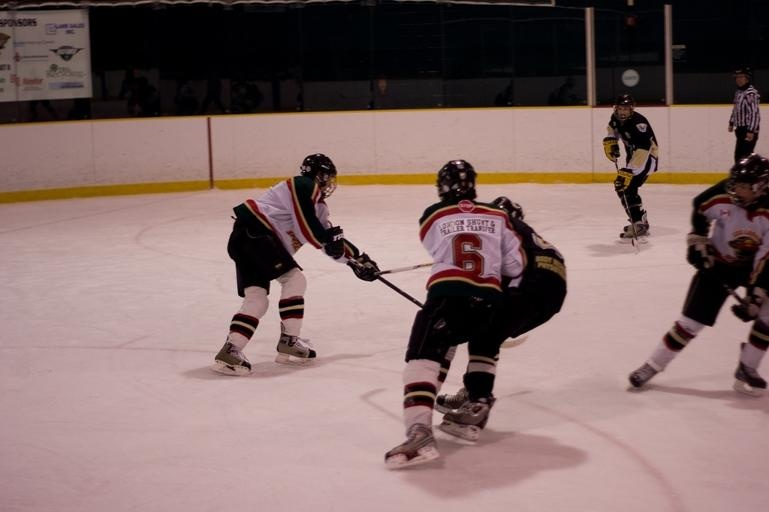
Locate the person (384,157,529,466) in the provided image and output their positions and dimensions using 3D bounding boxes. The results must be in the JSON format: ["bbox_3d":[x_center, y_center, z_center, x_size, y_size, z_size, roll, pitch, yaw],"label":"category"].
[{"bbox_3d":[0.350,0.392,4.011,0.526,1.353,0.881,8,13,29],"label":"person"}]

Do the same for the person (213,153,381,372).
[{"bbox_3d":[-0.672,0.039,5.229,1.067,1.501,0.550,-1,12,-12],"label":"person"}]

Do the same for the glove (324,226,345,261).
[{"bbox_3d":[-0.355,-0.090,5.246,0.145,0.251,0.118,1,11,-4],"label":"glove"}]

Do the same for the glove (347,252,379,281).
[{"bbox_3d":[-0.159,0.089,5.323,0.213,0.255,0.344,1,10,-4],"label":"glove"}]

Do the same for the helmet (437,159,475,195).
[{"bbox_3d":[0.440,-0.465,4.297,0.196,0.202,0.225,-2,22,-4],"label":"helmet"}]

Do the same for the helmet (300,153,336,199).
[{"bbox_3d":[-0.499,-0.601,5.478,0.370,0.328,0.286,3,12,-17],"label":"helmet"}]

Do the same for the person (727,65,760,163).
[{"bbox_3d":[5.642,-2.211,11.424,0.442,1.457,0.807,6,12,23],"label":"person"}]

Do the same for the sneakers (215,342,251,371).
[{"bbox_3d":[-1.072,0.713,5.099,0.265,0.160,0.155,15,-3,-27],"label":"sneakers"}]

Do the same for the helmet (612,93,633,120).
[{"bbox_3d":[3.021,-1.881,9.218,0.217,0.305,0.221,4,11,14],"label":"helmet"}]

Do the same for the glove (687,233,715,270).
[{"bbox_3d":[1.958,-0.028,4.543,0.176,0.178,0.202,4,-10,-14],"label":"glove"}]
